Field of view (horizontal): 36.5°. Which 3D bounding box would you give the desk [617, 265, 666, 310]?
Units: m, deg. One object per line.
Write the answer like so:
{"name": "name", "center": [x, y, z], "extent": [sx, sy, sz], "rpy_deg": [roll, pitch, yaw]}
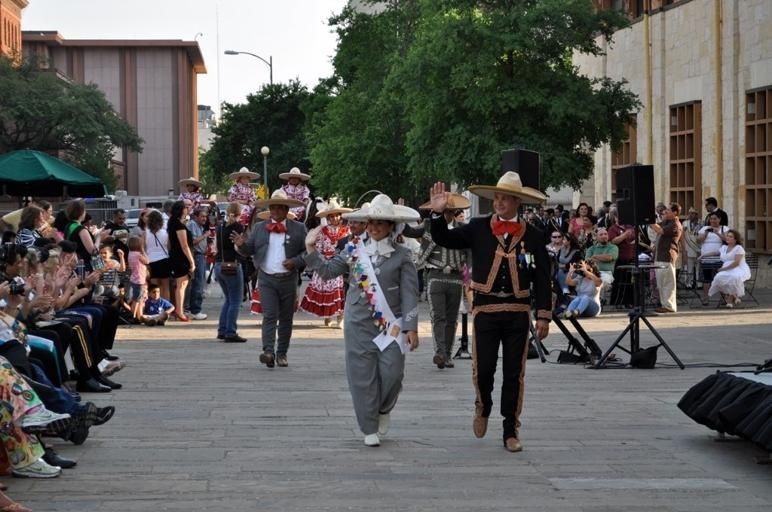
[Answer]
{"name": "desk", "center": [5.326, 0.568, 25.386], "extent": [1.422, 1.227, 1.287], "rpy_deg": [0, -4, -1]}

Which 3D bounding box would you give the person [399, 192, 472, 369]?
{"name": "person", "center": [0.878, 0.397, 19.615], "extent": [1.226, 2.860, 1.282], "rpy_deg": [1, -1, 1]}

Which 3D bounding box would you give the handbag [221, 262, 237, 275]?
{"name": "handbag", "center": [-2.831, 0.217, 21.336], "extent": [0.296, 0.242, 0.199], "rpy_deg": [1, -10, -1]}

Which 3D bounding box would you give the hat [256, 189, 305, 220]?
{"name": "hat", "center": [-1.872, -0.933, 21.508], "extent": [0.811, 0.280, 0.867], "rpy_deg": [0, -16, -3]}

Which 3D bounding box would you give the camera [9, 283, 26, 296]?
{"name": "camera", "center": [-4.998, 0.448, 15.987], "extent": [0.122, 0.155, 0.224], "rpy_deg": [5, 11, 24]}

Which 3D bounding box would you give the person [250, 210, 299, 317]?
{"name": "person", "center": [-2.102, 0.123, 20.387], "extent": [0.891, 1.936, 1.100], "rpy_deg": [0, -1, 0]}

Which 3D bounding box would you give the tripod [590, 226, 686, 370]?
{"name": "tripod", "center": [4.358, 0.803, 19.956], "extent": [1.336, 2.632, 1.210], "rpy_deg": [0, 0, 2]}
